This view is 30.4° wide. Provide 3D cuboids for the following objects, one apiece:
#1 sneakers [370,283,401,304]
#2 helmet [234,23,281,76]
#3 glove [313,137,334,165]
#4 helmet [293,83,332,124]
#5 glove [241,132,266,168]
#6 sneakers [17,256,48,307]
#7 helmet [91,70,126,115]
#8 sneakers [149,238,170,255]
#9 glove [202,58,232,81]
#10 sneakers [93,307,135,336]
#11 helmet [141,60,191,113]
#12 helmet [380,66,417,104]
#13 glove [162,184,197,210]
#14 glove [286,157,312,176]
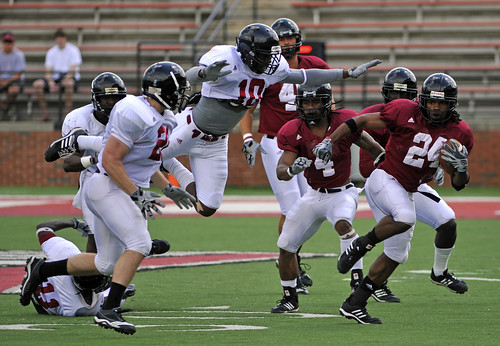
[{"bbox_3d":[1.651,1.469,11.138,0.481,0.219,0.173,-1,-23,37],"label":"sneakers"},{"bbox_3d":[0.078,-1.501,11.090,0.637,0.492,0.501,18,24,19],"label":"helmet"},{"bbox_3d":[0.851,-0.246,10.596,0.226,0.300,0.180,1,7,3],"label":"glove"},{"bbox_3d":[0.893,-0.821,11.129,0.547,0.449,0.435,8,-11,-42],"label":"helmet"},{"bbox_3d":[0.031,-0.317,11.563,0.095,0.219,0.284,9,-17,-36],"label":"glove"},{"bbox_3d":[-2.518,1.262,10.622,0.296,0.587,0.190,0,7,-10],"label":"sneakers"},{"bbox_3d":[-1.754,-0.972,11.381,0.454,0.444,0.566,-9,10,-31],"label":"helmet"},{"bbox_3d":[-1.054,0.872,10.732,0.322,0.099,0.127,-6,13,-22],"label":"sneakers"},{"bbox_3d":[-0.402,-1.214,10.818,0.452,0.133,0.256,-8,-27,44],"label":"glove"},{"bbox_3d":[-1.482,1.612,10.137,0.564,0.246,0.199,12,-13,29],"label":"sneakers"},{"bbox_3d":[-0.985,-0.975,10.589,0.636,0.529,0.451,-1,10,-17],"label":"helmet"},{"bbox_3d":[1.924,-1.072,11.770,0.505,0.460,0.578,4,14,7],"label":"helmet"},{"bbox_3d":[-0.821,0.295,10.662,0.369,0.231,0.100,39,-21,-4],"label":"glove"},{"bbox_3d":[0.580,-0.064,10.757,0.284,0.232,0.277,1,7,4],"label":"glove"}]
